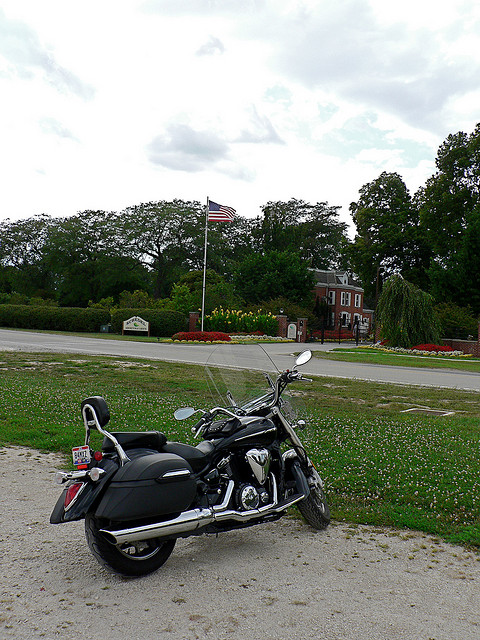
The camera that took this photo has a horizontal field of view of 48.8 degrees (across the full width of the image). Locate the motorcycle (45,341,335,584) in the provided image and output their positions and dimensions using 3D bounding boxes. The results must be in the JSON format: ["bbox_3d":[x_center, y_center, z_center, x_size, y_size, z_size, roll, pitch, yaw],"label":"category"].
[{"bbox_3d":[-0.254,0.944,3.451,1.937,1.409,0.444,4,-1,-40],"label":"motorcycle"}]

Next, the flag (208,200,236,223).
[{"bbox_3d":[-1.248,-7.018,34.390,1.628,1.383,1.430,3,-1,-5],"label":"flag"}]
